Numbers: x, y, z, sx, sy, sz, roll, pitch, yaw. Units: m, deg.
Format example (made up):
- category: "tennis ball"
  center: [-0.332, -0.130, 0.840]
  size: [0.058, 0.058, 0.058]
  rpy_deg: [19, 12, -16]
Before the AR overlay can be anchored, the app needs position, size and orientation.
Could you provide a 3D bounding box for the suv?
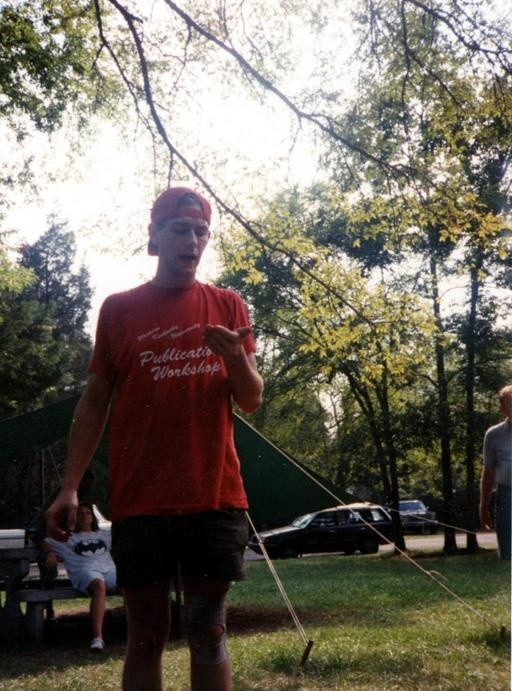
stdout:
- category: "suv"
  center: [1.661, 4.726, 19.646]
  size: [2.921, 1.201, 5.664]
  rpy_deg: [-6, -12, 13]
